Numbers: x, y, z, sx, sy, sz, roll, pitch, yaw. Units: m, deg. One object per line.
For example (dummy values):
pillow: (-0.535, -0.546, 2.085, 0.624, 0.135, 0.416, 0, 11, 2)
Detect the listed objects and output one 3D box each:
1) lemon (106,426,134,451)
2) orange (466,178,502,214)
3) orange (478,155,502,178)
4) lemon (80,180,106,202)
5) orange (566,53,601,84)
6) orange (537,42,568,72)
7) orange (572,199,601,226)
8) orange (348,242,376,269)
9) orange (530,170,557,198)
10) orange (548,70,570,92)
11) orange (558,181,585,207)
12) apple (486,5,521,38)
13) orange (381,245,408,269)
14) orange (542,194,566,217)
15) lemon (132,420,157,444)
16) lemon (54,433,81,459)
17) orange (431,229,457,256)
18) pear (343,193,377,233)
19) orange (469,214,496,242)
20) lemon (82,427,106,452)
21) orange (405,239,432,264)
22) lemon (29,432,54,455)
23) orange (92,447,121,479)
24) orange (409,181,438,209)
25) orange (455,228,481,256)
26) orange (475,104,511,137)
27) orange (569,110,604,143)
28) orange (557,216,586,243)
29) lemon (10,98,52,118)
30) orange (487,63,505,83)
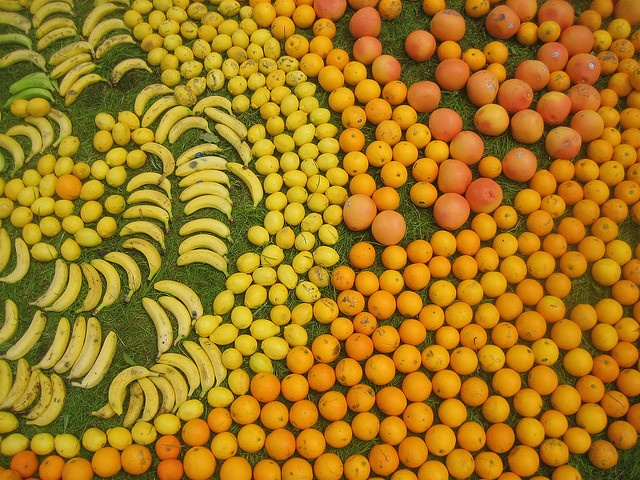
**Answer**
lemon: (-2.136, 2.110, 6.517, 0.247, 0.196, 0.211, 19, 101, 20)
orange: (1.925, -0.511, 7.059, 0.423, 0.437, 0.466, 4, 78, -4)
orange: (1.985, -0.839, 7.019, 0.250, 0.239, 0.255, -4, 84, -45)
lemon: (-2.642, -0.600, 7.061, 0.255, 0.197, 0.207, -26, 107, -15)
orange: (3.174, -2.070, 7.279, 0.360, 0.358, 0.379, 14, 101, 18)
orange: (2.854, -2.215, 7.391, 0.316, 0.380, 0.352, 2, 60, 35)
orange: (3.108, -0.328, 7.016, 0.270, 0.275, 0.276, -50, 120, -22)
orange: (0.495, 0.179, 6.847, 0.302, 0.229, 0.296, -34, 83, -9)
orange: (2.613, -0.672, 7.022, 0.273, 0.275, 0.281, 28, 84, 43)
orange: (2.890, -1.932, 7.306, 0.237, 0.237, 0.249, -26, 97, 16)
orange: (2.929, -0.544, 7.098, 0.252, 0.250, 0.265, 1, 55, -35)
apple: (2.281, -2.713, 7.461, 0.416, 0.215, 0.342, 27, 79, 1)
orange: (0.850, 0.184, 6.780, 0.245, 0.258, 0.315, 1, 91, 15)
orange: (2.731, -0.421, 7.110, 0.242, 0.248, 0.247, 14, 100, -18)
lemon: (-1.879, 2.088, 6.454, 0.238, 0.198, 0.202, 12, 115, 23)
lemon: (-2.735, 2.250, 6.535, 0.248, 0.113, 0.275, -18, 81, -7)
orange: (1.413, 0.017, 6.855, 0.258, 0.267, 0.342, 5, 98, 41)
pear: (0.489, -0.332, 6.822, 0.350, 0.369, 0.450, 0, 92, 12)
orange: (1.876, -0.147, 6.988, 0.273, 0.266, 0.342, -13, 87, -33)
lemon: (-2.431, 2.174, 6.498, 0.265, 0.107, 0.234, 29, 79, 2)
orange: (1.131, 0.136, 6.787, 0.245, 0.251, 0.273, 3, 63, 3)
lemon: (-2.998, 2.215, 6.546, 0.229, 0.193, 0.196, 5, 102, 27)
orange: (-2.251, 2.367, 6.367, 0.275, 0.289, 0.352, 2, 67, 0)
orange: (1.208, -0.508, 6.916, 0.276, 0.272, 0.289, 2, 35, 6)
orange: (1.692, 0.013, 6.983, 0.262, 0.313, 0.277, -30, 93, 6)
orange: (2.085, -1.493, 7.264, 0.396, 0.463, 0.485, -3, 102, 1)
orange: (3.157, -1.342, 7.221, 0.325, 0.338, 0.428, -5, 89, -3)
orange: (2.924, -0.114, 7.044, 0.263, 0.280, 0.289, -19, 47, 16)
lemon: (-3.494, -1.592, 7.324, 0.430, 0.228, 0.233, 0, 48, 9)
orange: (2.179, -2.050, 7.336, 0.206, 0.219, 0.265, -2, 103, 7)
